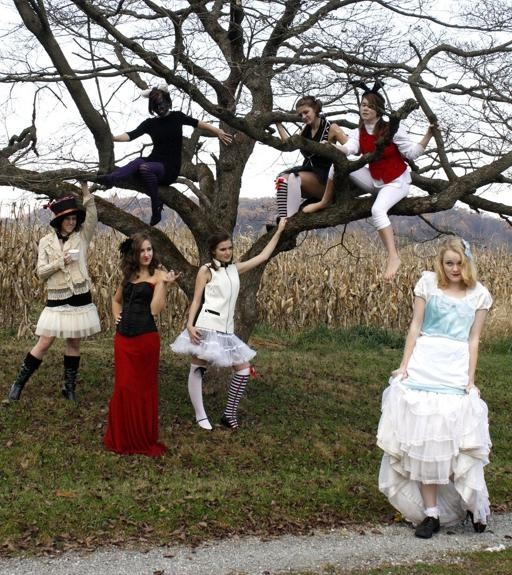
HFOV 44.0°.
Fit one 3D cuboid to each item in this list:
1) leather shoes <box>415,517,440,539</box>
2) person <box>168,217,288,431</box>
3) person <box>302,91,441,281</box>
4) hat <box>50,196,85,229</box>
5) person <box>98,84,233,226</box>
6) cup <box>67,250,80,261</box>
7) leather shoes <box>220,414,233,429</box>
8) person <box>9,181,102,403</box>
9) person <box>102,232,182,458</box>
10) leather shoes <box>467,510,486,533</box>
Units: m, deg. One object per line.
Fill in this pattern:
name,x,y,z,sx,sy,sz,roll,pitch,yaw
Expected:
leather shoes,1.291,1.822,4.829,0.120,0.164,0.169,16,12,28
person,-0.349,0.372,6.587,0.817,2.302,1.004,13,11,5
person,1.173,-1.093,6.224,0.907,1.867,1.365,8,10,-16
hat,-1.910,-0.789,6.398,0.393,0.197,0.347,-24,13,2
person,-0.977,-1.410,6.644,1.594,1.247,0.749,4,14,0
cup,-1.799,-0.318,6.258,0.130,0.079,0.116,-1,3,3
leather shoes,-0.325,1.444,6.761,0.195,0.077,0.068,36,46,22
person,-1.999,0.073,6.572,0.786,2.346,0.881,8,11,-19
person,-1.066,0.516,6.000,0.667,2.003,0.789,8,11,-17
leather shoes,1.719,1.857,4.975,0.089,0.193,0.090,-14,-7,3
